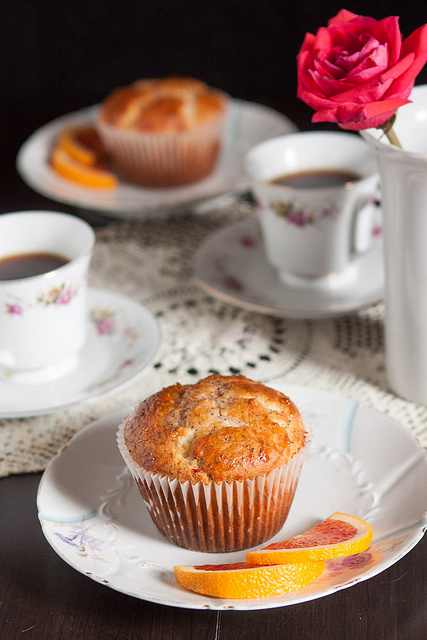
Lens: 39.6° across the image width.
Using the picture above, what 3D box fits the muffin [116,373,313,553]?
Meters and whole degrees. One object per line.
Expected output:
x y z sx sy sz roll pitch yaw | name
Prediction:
0.001 0.138 0.625 0.200 0.135 0.195 6 19 19 | muffin

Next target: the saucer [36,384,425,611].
0.017 0.119 0.568 0.305 0.156 0.279 -1 20 0 | saucer

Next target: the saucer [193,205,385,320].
0.075 -0.067 0.919 0.215 0.043 0.213 -4 26 2 | saucer

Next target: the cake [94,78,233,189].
-0.100 -0.367 1.110 0.236 0.148 0.246 -1 24 1 | cake
